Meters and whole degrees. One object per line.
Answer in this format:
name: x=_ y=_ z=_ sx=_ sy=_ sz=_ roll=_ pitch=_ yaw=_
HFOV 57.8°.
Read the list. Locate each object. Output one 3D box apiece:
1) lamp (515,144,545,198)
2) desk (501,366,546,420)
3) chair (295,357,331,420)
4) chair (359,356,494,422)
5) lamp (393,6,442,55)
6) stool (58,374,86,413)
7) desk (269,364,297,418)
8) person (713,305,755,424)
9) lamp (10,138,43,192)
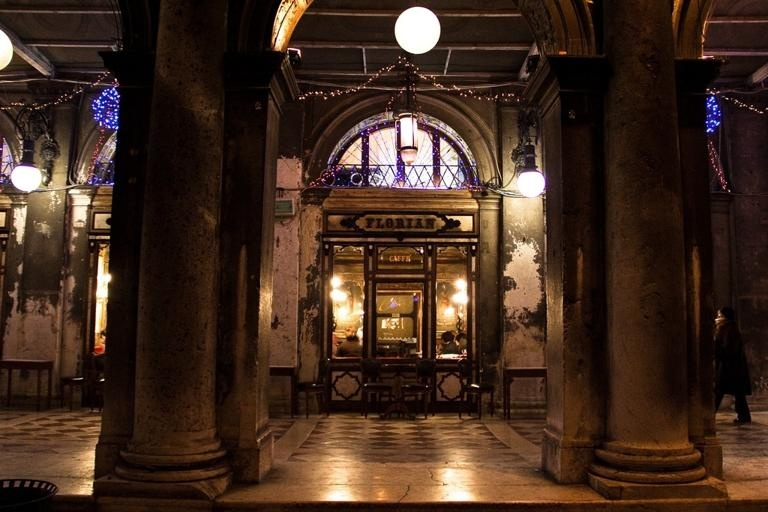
lamp: x=2.648 y=-1.596 z=12.605 sx=0.448 sy=1.021 sz=0.435 roll=-2 pitch=-7 yaw=15
desk: x=2.583 y=2.524 z=12.857 sx=0.763 sy=0.946 sz=0.707 roll=-1 pitch=-7 yaw=8
chair: x=-1.336 y=2.464 z=13.067 sx=0.648 sy=1.017 sz=0.686 roll=2 pitch=-7 yaw=-15
chair: x=0.682 y=2.476 z=13.200 sx=2.245 sy=1.067 sz=0.832 roll=0 pitch=-7 yaw=-4
lamp: x=0.489 y=-3.272 z=10.029 sx=0.583 sy=0.584 sz=0.326 roll=-1 pitch=-7 yaw=10
stool: x=-5.864 y=2.664 z=13.403 sx=0.655 sy=0.750 sz=0.633 roll=5 pitch=-11 yaw=-26
desk: x=-1.841 y=2.488 z=12.880 sx=0.521 sy=0.928 sz=0.662 roll=1 pitch=-7 yaw=-8
person: x=6.007 y=1.860 z=12.078 sx=0.540 sy=1.957 sz=0.494 roll=-3 pitch=-8 yaw=25
lamp: x=-6.642 y=-1.728 z=12.968 sx=0.474 sy=0.975 sz=0.394 roll=2 pitch=-7 yaw=-14
